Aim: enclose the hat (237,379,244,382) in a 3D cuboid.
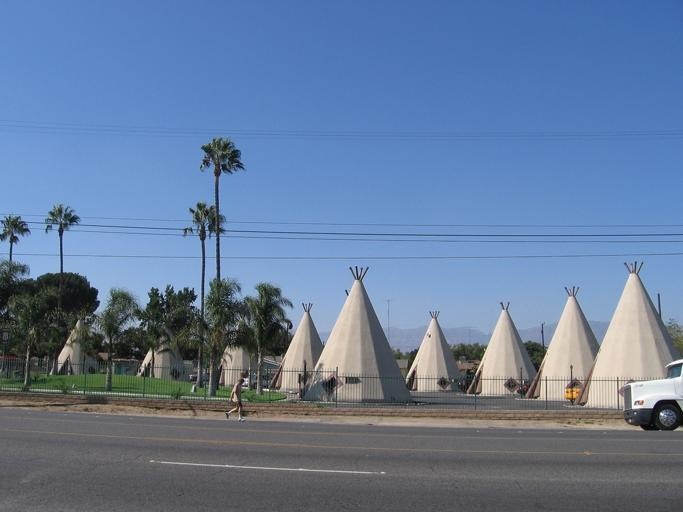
[{"bbox_3d":[-3.740,4.611,29.113,0.138,0.130,0.155,-7,-11,12],"label":"hat"}]
